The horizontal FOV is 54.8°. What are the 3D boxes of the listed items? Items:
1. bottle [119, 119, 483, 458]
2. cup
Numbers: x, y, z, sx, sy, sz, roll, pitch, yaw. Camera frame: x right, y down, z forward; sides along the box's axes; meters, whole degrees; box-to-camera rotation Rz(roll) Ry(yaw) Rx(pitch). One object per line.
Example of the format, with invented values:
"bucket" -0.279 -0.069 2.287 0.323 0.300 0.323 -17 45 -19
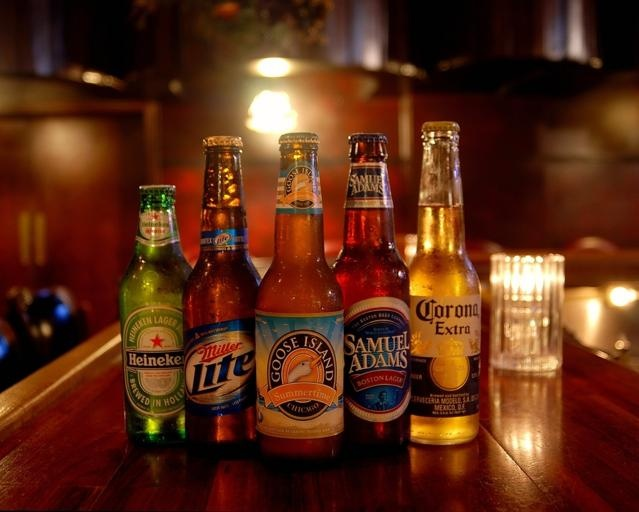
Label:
"bottle" 0.021 0.037 0.640 0.314 0.353 0.084 -4 8 -21
"cup" 0.328 0.088 0.986 0.111 0.175 0.105 -1 7 0
